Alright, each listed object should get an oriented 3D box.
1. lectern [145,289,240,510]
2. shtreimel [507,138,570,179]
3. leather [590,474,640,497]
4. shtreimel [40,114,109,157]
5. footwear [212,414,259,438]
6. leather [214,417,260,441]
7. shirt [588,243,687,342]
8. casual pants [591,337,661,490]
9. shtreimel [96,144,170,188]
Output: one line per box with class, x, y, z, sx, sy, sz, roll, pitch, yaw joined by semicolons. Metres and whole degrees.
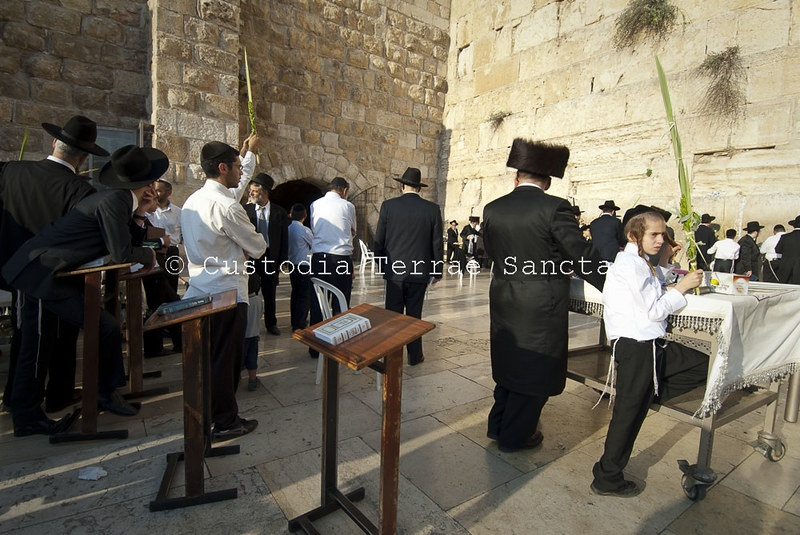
lectern;-1.841;1.150;4.636;0.819;1.820;0.623;-4;8;-18
shtreimel;1.375;-1.086;5.164;0.528;0.278;0.405;16;1;16
leather;1.971;2.007;4.750;0.435;0.188;0.168;-2;1;-6
shtreimel;-3.306;-1.299;5.299;0.586;0.216;0.447;30;14;-37
footwear;-1.655;1.610;5.244;0.455;0.197;0.160;-6;7;-30
leather;-1.646;1.627;5.251;0.452;0.198;0.159;-8;8;-30
shirt;2.282;0.114;5.144;0.847;1.113;0.935;-5;8;-6
casual pants;2.021;1.322;4.690;0.578;1.357;0.292;-5;8;-30
shtreimel;-2.599;-0.909;5.149;0.570;0.197;0.519;-24;59;-20
